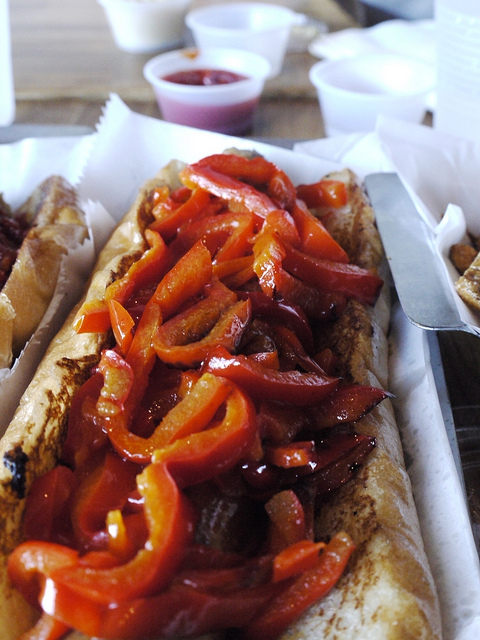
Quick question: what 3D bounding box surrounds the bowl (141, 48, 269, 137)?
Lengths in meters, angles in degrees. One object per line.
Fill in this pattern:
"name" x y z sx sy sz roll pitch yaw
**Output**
"bowl" -0.106 -0.814 2.414 0.437 0.331 0.354 -10 51 -4
